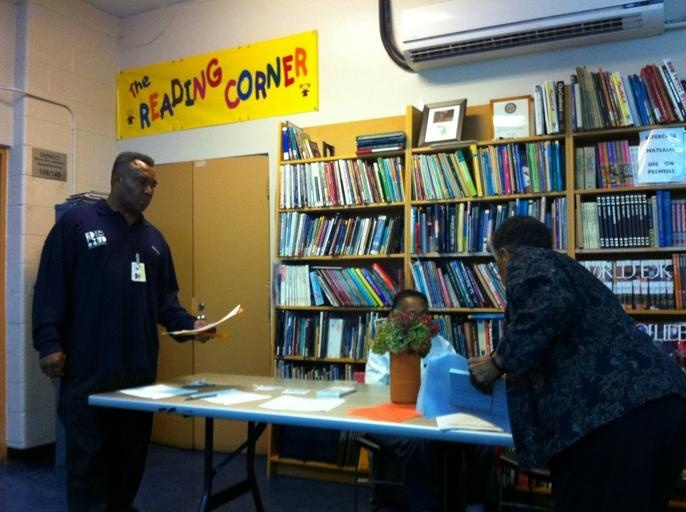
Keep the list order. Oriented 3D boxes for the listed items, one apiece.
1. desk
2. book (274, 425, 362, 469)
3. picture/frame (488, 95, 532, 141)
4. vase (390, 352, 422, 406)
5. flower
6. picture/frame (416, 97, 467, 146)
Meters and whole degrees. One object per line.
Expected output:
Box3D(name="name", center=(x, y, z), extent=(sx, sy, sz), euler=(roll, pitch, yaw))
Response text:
Box3D(name="desk", center=(-0.204, 1.045, 2.868), extent=(1.957, 0.697, 0.840), euler=(-2, 1, 24))
Box3D(name="book", center=(-0.196, 1.378, 4.231), extent=(0.457, 0.196, 0.629), euler=(0, -3, 12))
Box3D(name="picture/frame", center=(1.155, -0.936, 4.028), extent=(0.281, 0.337, 0.029), euler=(-2, -16, 16))
Box3D(name="vase", center=(0.291, 0.589, 2.853), extent=(0.161, 0.271, 0.168), euler=(-5, -29, 27))
Box3D(name="flower", center=(0.276, 0.369, 2.854), extent=(0.235, 0.176, 0.246), euler=(-11, 4, -24))
Box3D(name="picture/frame", center=(0.705, -0.947, 4.166), extent=(0.408, 0.485, 0.034), euler=(2, -26, 16))
